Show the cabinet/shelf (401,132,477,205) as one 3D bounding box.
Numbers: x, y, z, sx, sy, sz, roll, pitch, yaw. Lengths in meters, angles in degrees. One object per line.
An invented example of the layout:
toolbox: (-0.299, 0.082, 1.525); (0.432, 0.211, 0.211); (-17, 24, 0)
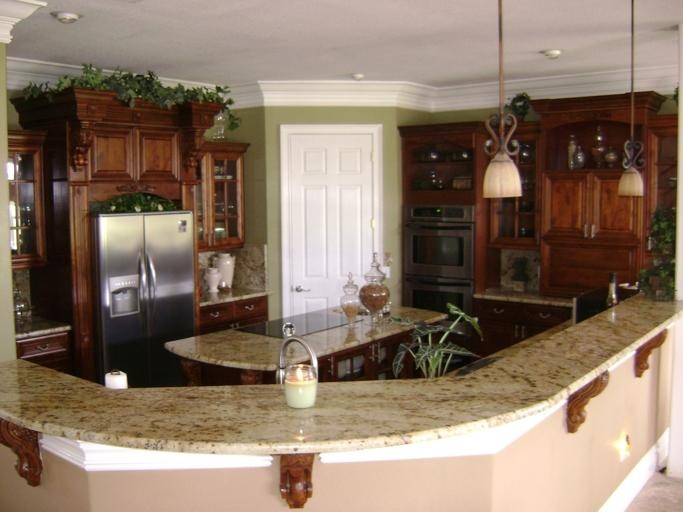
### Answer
cabinet/shelf: (1.135, -1.013, 6.327); (1.024, 0.872, 0.424); (2, 4, 26)

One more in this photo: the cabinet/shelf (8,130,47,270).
cabinet/shelf: (-2.784, -0.484, 4.866); (0.218, 1.209, 0.377); (3, 10, 23)

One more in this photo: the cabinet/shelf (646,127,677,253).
cabinet/shelf: (3.082, -0.707, 5.288); (0.224, 0.972, 0.157); (3, 11, 23)

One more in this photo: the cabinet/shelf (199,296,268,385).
cabinet/shelf: (-0.929, 0.701, 4.618); (0.235, 0.461, 0.596); (5, 9, 37)

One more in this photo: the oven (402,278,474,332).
oven: (1.123, 0.463, 6.438); (1.083, 0.563, 0.571); (2, 3, 33)

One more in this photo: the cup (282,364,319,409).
cup: (-0.138, 0.541, 2.311); (0.190, 0.158, 0.171); (0, 3, -2)
